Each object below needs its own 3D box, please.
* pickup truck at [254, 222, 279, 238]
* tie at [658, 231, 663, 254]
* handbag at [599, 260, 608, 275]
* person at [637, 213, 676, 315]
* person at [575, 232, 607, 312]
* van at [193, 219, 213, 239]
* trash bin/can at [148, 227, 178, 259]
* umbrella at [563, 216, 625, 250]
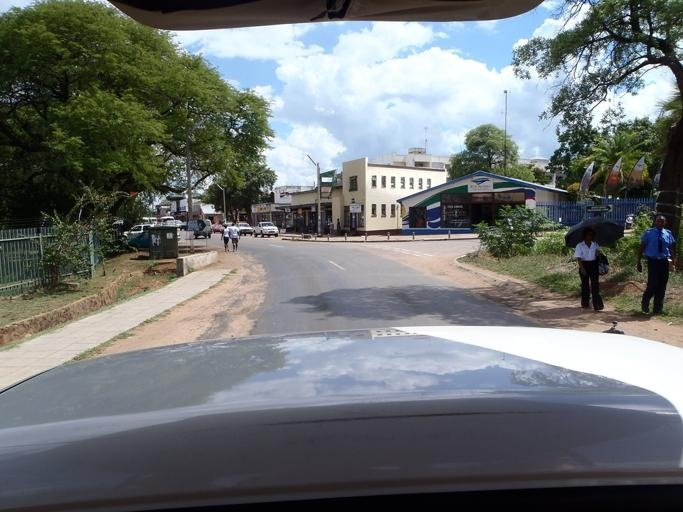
[{"bbox_3d":[-7.779,-2.610,61.694,1.310,0.943,2.669,-1,-2,-23],"label":"pickup truck"},{"bbox_3d":[5.892,-0.239,11.337,0.085,0.387,0.213,1,4,28],"label":"tie"},{"bbox_3d":[5.194,0.243,12.185,0.124,0.230,0.182,2,4,34],"label":"handbag"},{"bbox_3d":[5.838,0.144,11.424,0.608,1.783,0.898,1,4,26],"label":"person"},{"bbox_3d":[4.934,0.253,12.201,0.512,1.595,0.882,0,3,9],"label":"person"},{"bbox_3d":[-12.871,-2.488,56.733,1.797,1.449,2.820,0,9,-11],"label":"van"},{"bbox_3d":[-6.852,-0.510,23.522,1.019,1.238,0.894,-1,3,-15],"label":"trash bin/can"},{"bbox_3d":[5.264,-0.518,12.741,0.878,0.283,0.830,4,-28,-31],"label":"umbrella"}]
